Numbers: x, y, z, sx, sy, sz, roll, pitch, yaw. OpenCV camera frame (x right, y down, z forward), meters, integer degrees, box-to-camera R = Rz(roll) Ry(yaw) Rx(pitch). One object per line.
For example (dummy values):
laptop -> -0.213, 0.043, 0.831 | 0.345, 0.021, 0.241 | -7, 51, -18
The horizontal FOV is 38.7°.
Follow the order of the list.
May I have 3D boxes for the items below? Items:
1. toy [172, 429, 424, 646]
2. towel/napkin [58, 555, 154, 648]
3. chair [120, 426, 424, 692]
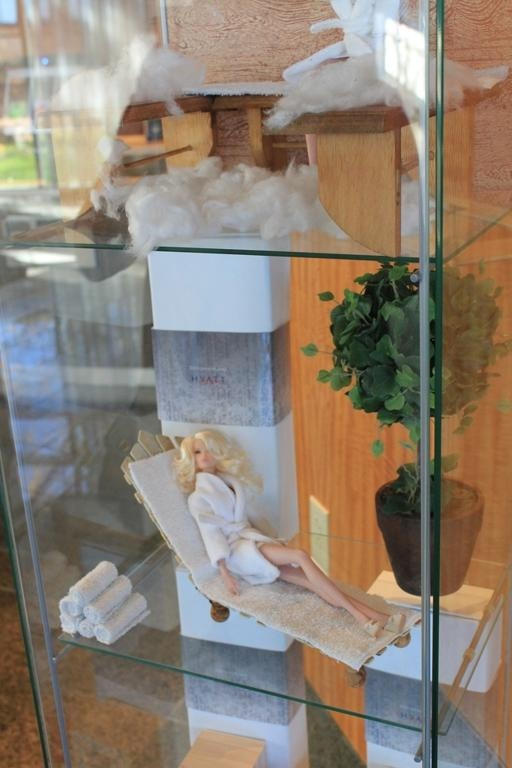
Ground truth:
toy -> 0.029, 0.139, 0.815 | 0.270, 0.157, 0.132 | 18, 42, 37
towel/napkin -> -0.176, 0.263, 0.874 | 0.091, 0.063, 0.090 | 24, 35, 26
chair -> -0.004, 0.174, 0.852 | 0.387, 0.164, 0.151 | 26, 45, 27
